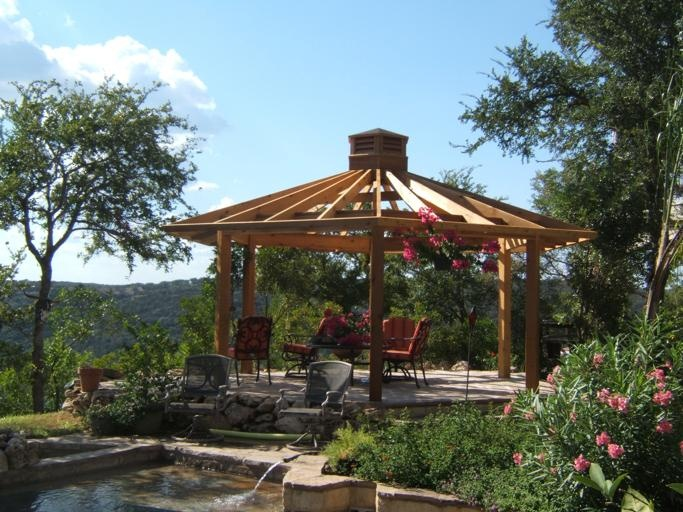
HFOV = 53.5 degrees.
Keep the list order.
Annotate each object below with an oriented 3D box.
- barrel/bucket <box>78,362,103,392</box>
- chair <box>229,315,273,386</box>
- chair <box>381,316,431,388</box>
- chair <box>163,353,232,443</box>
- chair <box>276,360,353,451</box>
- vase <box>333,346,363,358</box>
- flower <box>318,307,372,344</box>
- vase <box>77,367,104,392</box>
[{"bbox_3d":[-5.033,2.442,13.552,0.529,0.583,0.477,4,-10,-17],"label":"barrel/bucket"},{"bbox_3d":[-1.808,1.834,13.294,0.856,1.277,0.915,3,-4,-40],"label":"chair"},{"bbox_3d":[1.368,1.899,13.634,1.260,1.739,1.335,1,-6,9],"label":"chair"},{"bbox_3d":[-2.344,2.285,11.213,1.008,1.275,1.010,4,-7,-18],"label":"chair"},{"bbox_3d":[-0.443,2.377,10.805,0.937,1.445,1.018,-5,-13,39],"label":"chair"},{"bbox_3d":[0.118,1.958,13.630,0.405,0.261,0.411,-1,-5,0],"label":"vase"},{"bbox_3d":[0.004,1.415,13.374,0.771,0.507,0.753,3,-2,-36],"label":"flower"},{"bbox_3d":[-5.039,2.458,13.519,0.542,0.570,0.462,5,-14,-22],"label":"vase"}]
